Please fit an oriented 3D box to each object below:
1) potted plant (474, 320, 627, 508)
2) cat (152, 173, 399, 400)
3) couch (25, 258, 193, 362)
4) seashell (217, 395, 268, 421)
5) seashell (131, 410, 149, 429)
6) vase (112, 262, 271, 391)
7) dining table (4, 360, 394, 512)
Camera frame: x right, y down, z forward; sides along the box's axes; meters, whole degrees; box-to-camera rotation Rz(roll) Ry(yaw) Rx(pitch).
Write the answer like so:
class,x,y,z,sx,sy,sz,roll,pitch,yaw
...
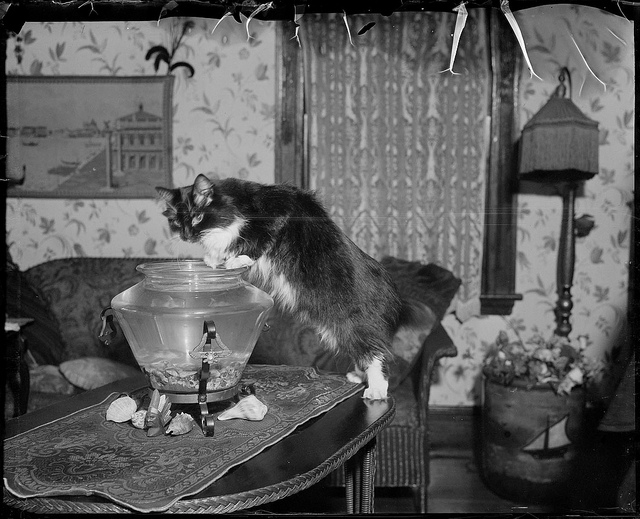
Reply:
class,x,y,z,sx,sy,sz,roll,pitch,yaw
potted plant,0.812,0.547,3.060,0.491,0.623,0.613,0,3,8
cat,-0.053,0.082,3.082,1.115,0.606,0.272,25,26,21
couch,-0.806,0.159,3.089,0.421,0.519,0.434,-2,-5,10
seashell,-0.231,0.450,2.398,0.090,0.023,0.076,-11,30,-16
seashell,-0.535,0.469,2.342,0.048,0.053,0.023,-6,-27,-14
vase,-0.397,0.218,2.565,0.478,0.416,0.525,-1,4,9
dining table,-0.343,0.509,2.388,1.132,0.244,0.651,-1,9,-16
